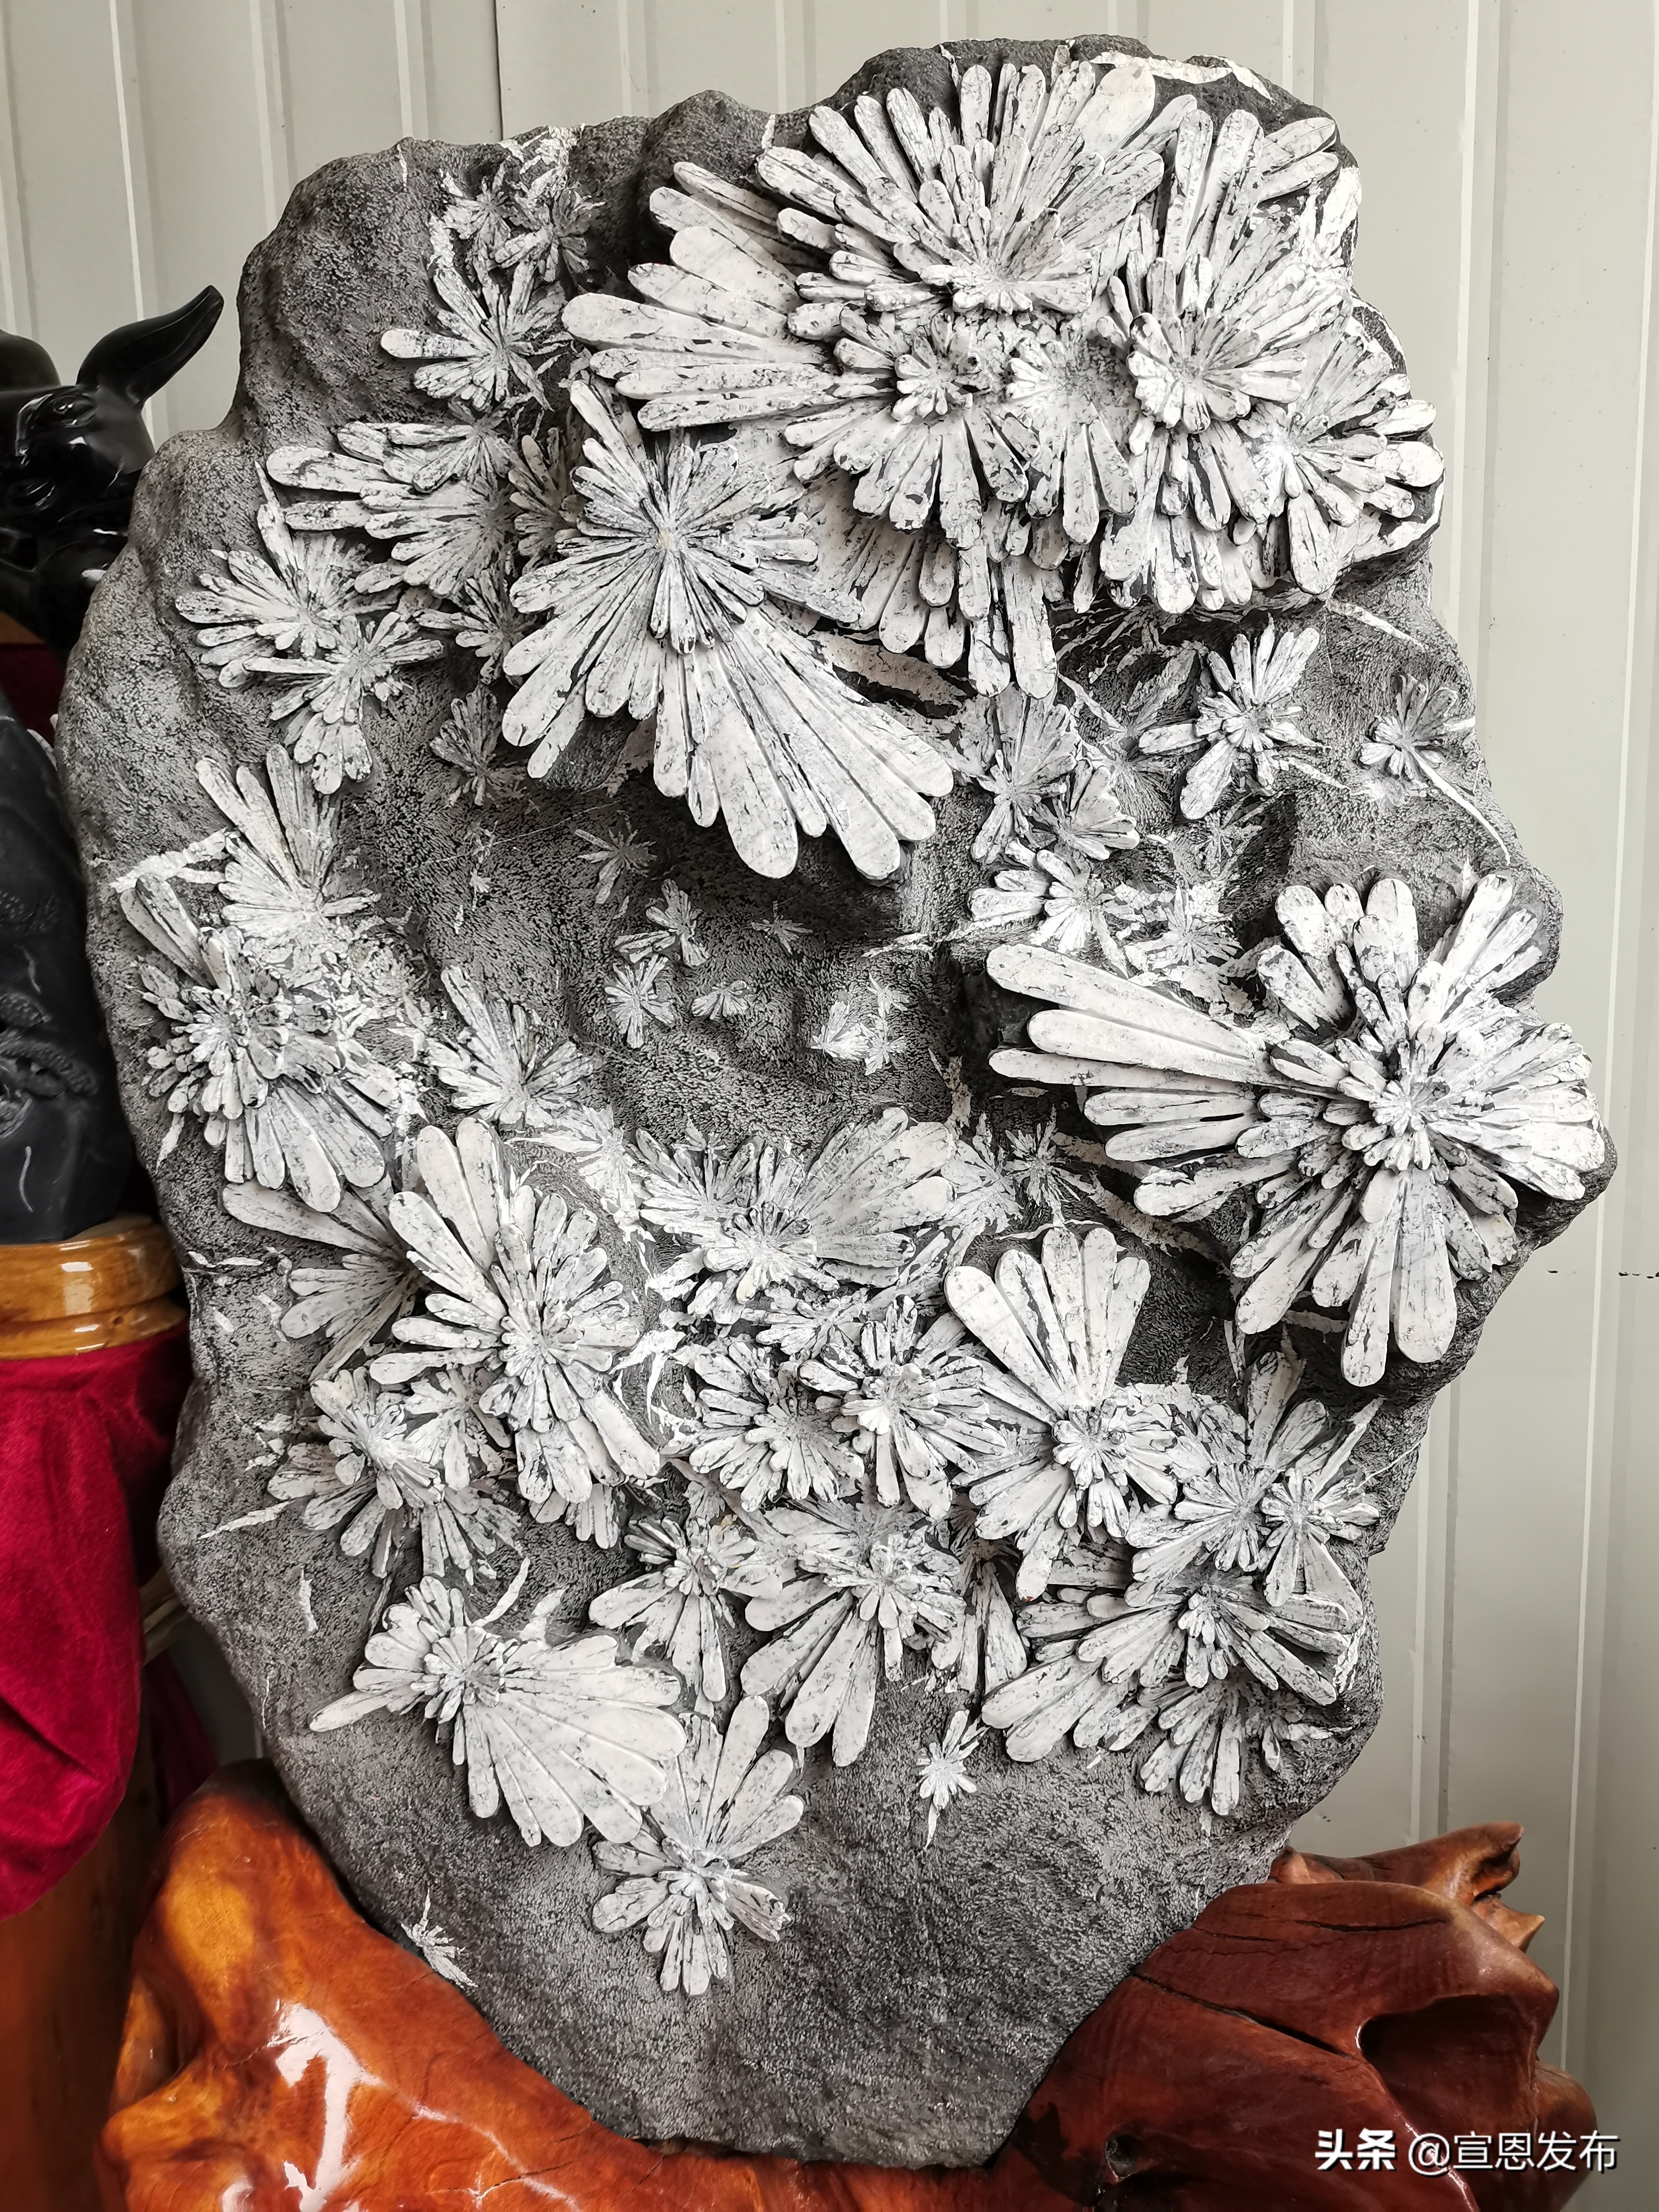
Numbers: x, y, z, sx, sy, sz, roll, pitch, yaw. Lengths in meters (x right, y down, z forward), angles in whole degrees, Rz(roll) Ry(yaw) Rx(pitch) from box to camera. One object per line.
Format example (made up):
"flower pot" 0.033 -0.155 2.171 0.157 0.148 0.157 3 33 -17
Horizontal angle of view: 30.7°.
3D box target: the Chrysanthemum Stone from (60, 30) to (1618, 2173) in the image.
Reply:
"Chrysanthemum Stone" 0.000 0.012 1.575 0.751 1.092 0.325 -3 16 -10
